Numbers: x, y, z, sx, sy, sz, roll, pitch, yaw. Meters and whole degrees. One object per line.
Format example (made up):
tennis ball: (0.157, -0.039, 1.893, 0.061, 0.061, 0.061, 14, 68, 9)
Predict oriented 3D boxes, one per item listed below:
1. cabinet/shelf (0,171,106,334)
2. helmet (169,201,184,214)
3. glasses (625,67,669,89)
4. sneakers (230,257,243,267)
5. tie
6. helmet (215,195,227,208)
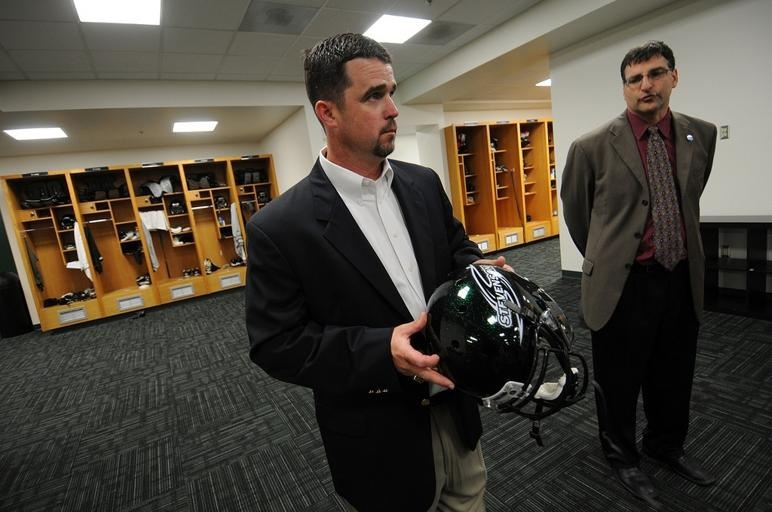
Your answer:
cabinet/shelf: (-6.129, -0.097, 6.715, 1.123, 2.523, 0.985, 1, 15, 46)
helmet: (-4.388, -1.002, 7.614, 0.292, 0.288, 0.330, -14, 12, -26)
glasses: (1.549, -1.051, 2.144, 0.211, 0.085, 0.064, -5, 11, 16)
sneakers: (-3.347, 0.116, 8.196, 0.205, 0.150, 0.361, -1, 10, -7)
tie: (1.627, -0.345, 2.169, 0.212, 0.829, 0.168, -13, 11, -16)
helmet: (-3.676, -1.205, 8.091, 0.233, 0.322, 0.416, -13, 11, -21)
